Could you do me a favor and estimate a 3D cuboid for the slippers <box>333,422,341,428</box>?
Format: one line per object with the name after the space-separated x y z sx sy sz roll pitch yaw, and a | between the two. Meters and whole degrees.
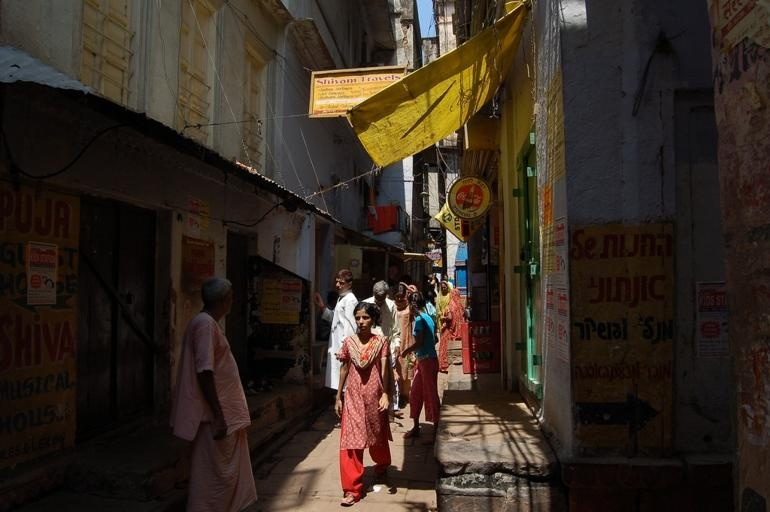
-0.638 2.317 10.024 0.077 0.046 0.112 0 1 14 | slippers

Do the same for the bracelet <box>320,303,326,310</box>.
-1.037 0.846 12.304 0.051 0.048 0.169 -11 4 10 | bracelet

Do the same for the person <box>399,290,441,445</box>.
0.490 1.353 9.166 0.435 1.828 0.832 -1 -7 1 | person

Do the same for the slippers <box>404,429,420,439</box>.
0.364 2.255 9.300 0.214 0.155 0.085 4 -13 -1 | slippers

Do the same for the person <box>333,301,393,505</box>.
-0.194 1.529 7.718 0.575 2.032 0.460 1 -7 -15 | person

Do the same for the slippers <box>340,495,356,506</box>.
-0.335 2.458 7.376 0.186 0.107 0.117 0 -8 -11 | slippers
